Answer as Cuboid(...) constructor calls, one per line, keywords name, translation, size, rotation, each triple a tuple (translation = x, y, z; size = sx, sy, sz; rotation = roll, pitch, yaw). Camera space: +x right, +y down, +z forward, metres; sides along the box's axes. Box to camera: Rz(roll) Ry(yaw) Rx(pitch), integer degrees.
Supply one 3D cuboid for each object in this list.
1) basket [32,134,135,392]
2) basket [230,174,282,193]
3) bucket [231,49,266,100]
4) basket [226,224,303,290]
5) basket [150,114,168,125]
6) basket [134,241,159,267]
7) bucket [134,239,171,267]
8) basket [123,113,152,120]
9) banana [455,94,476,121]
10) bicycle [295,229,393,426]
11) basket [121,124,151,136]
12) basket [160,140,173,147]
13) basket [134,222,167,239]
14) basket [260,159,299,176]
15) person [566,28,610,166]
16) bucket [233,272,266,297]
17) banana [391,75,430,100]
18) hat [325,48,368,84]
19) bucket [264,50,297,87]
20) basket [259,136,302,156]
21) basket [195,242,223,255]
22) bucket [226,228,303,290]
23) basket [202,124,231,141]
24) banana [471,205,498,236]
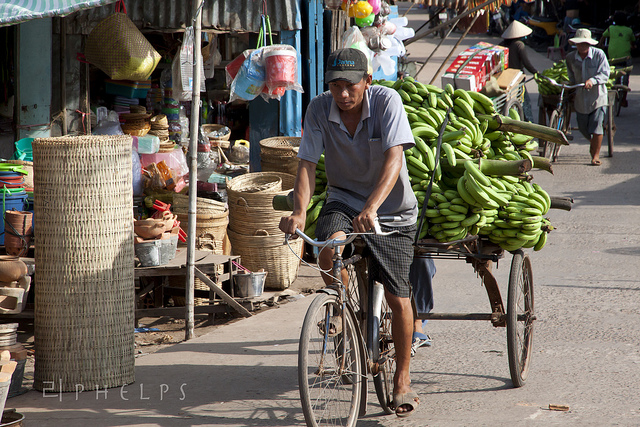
Cuboid(name="basket", translation=(-2.097, 0.466, 9.297), size=(0.877, 2.281, 0.213), rotation=(-3, 5, -15))
Cuboid(name="basket", translation=(-0.695, -0.341, 11.917), size=(0.525, 0.197, 0.439), rotation=(0, 4, 19))
Cuboid(name="bucket", translation=(-0.740, -1.523, 11.584), size=(0.479, 0.580, 0.270), rotation=(3, 2, 21))
Cuboid(name="basket", translation=(-0.523, 0.505, 12.024), size=(0.883, 0.625, 0.753), rotation=(-3, 1, 8))
Cuboid(name="basket", translation=(-2.102, -1.253, 13.829), size=(0.183, 0.131, 0.299), rotation=(0, 4, 10))
Cuboid(name="basket", translation=(-1.695, 0.441, 10.726), size=(0.358, 0.249, 0.328), rotation=(-6, -6, 3))
Cuboid(name="bucket", translation=(-1.692, 0.421, 10.769), size=(0.425, 0.241, 0.394), rotation=(-7, -2, 0))
Cuboid(name="basket", translation=(-2.307, -1.262, 13.469), size=(0.350, 0.077, 0.159), rotation=(-5, 5, -43))
Cuboid(name="banana", translation=(1.351, -0.989, 9.680), size=(0.127, 0.094, 0.346), rotation=(-1, 45, -35))
Cuboid(name="bicycle", translation=(0.230, 0.960, 8.828), size=(0.756, 1.724, 1.286), rotation=(-1, 4, 3))
Cuboid(name="basket", translation=(-2.352, -1.078, 13.445), size=(0.130, 0.140, 0.415), rotation=(2, 5, 40))
Cuboid(name="basket", translation=(-1.997, -0.917, 13.700), size=(0.070, 0.073, 0.200), rotation=(1, 4, 27))
Cuboid(name="basket", translation=(-1.731, 0.191, 10.684), size=(0.223, 0.099, 0.207), rotation=(-6, 1, 5))
Cuboid(name="basket", translation=(-0.474, -0.547, 12.441), size=(0.368, 0.234, 0.339), rotation=(1, 3, 2))
Cuboid(name="person", translation=(4.252, -1.855, 16.412), size=(0.637, 2.230, 1.099), rotation=(-1, 4, 7))
Cuboid(name="bucket", translation=(-0.760, 0.787, 11.422), size=(0.421, 0.251, 0.393), rotation=(0, 3, 0))
Cuboid(name="banana", translation=(0.886, -1.204, 9.855), size=(0.375, 0.103, 0.179), rotation=(15, 13, 18))
Cuboid(name="hat", translation=(0.227, -1.261, 8.614), size=(0.374, 0.244, 0.500), rotation=(0, 24, 12))
Cuboid(name="bucket", translation=(-0.432, -1.631, 11.558), size=(0.432, 0.338, 0.398), rotation=(-1, -1, 0))
Cuboid(name="basket", translation=(-0.477, -0.808, 12.470), size=(0.490, 0.227, 0.478), rotation=(-1, 4, 2))
Cuboid(name="basket", translation=(-1.181, 0.399, 11.666), size=(0.147, 0.140, 0.348), rotation=(1, 5, 33))
Cuboid(name="bucket", translation=(-0.558, 0.541, 12.102), size=(0.860, 0.581, 0.747), rotation=(-3, 2, 7))
Cuboid(name="basket", translation=(-1.681, -1.326, 16.354), size=(0.339, 0.121, 0.345), rotation=(23, 24, 37))
Cuboid(name="banana", translation=(1.447, 0.066, 9.092), size=(0.135, 0.196, 0.274), rotation=(-3, -12, 10))
